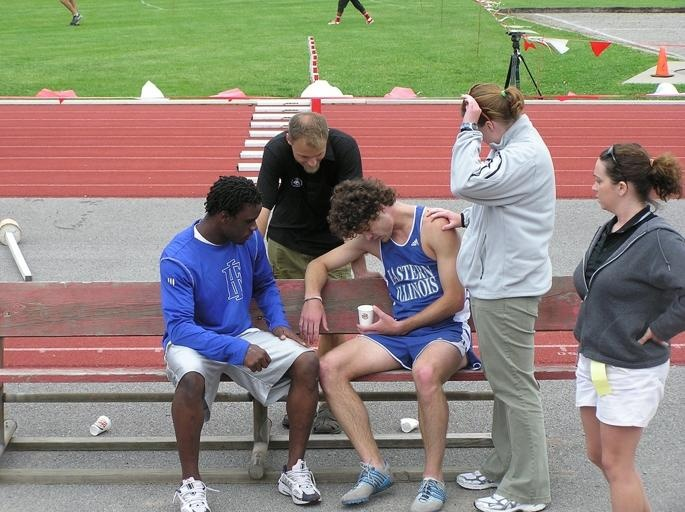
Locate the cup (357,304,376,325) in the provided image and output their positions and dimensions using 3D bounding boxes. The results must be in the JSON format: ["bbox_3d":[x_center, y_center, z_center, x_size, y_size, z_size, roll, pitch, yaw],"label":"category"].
[{"bbox_3d":[0.171,0.384,6.401,0.146,0.105,0.130,0,-2,7],"label":"cup"}]

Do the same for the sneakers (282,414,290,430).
[{"bbox_3d":[-0.400,1.126,6.729,0.077,0.067,0.187,0,-2,-4],"label":"sneakers"}]

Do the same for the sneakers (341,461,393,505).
[{"bbox_3d":[0.162,1.413,6.085,0.338,0.237,0.162,-23,36,-37],"label":"sneakers"}]

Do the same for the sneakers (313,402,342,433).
[{"bbox_3d":[-0.109,1.094,6.757,0.194,0.133,0.428,5,6,1],"label":"sneakers"}]

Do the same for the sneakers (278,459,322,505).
[{"bbox_3d":[-0.278,1.398,6.104,0.260,0.251,0.222,-5,28,-7],"label":"sneakers"}]

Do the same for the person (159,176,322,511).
[{"bbox_3d":[-0.673,0.508,6.172,1.001,1.837,1.294,-6,29,-5],"label":"person"}]

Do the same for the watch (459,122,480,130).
[{"bbox_3d":[0.791,-0.767,5.853,0.080,0.042,0.067,0,4,-2],"label":"watch"}]

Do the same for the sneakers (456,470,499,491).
[{"bbox_3d":[0.888,1.419,6.265,0.310,0.088,0.094,3,1,-4],"label":"sneakers"}]
